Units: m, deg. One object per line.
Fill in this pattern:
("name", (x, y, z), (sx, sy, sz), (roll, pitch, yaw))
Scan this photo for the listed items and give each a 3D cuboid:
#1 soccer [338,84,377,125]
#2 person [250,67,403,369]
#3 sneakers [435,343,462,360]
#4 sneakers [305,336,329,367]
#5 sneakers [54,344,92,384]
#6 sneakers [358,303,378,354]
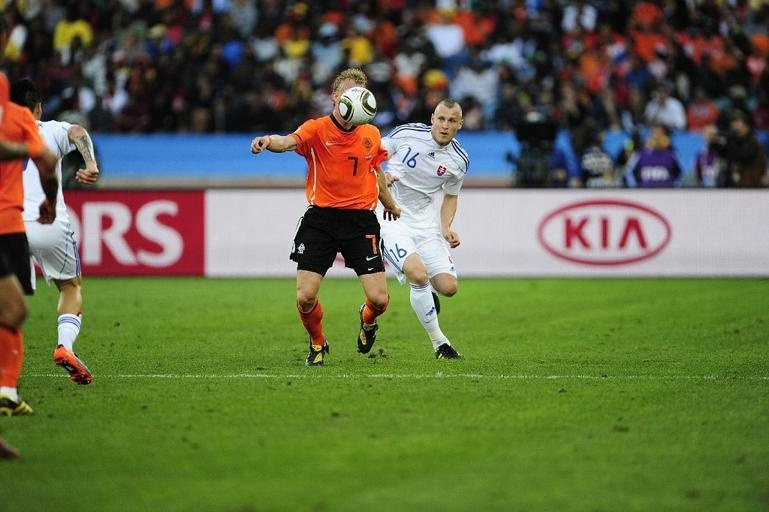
("soccer", (-0.269, -1.461, 9.951), (0.360, 0.373, 0.231), (-1, 13, -3))
("person", (-0.454, -0.371, 10.230), (1.107, 2.940, 0.737), (-1, 13, -1))
("sneakers", (0.680, 0.987, 10.576), (0.315, 0.142, 0.117), (1, 0, 4))
("sneakers", (-0.708, 0.972, 10.422), (0.124, 0.352, 0.160), (-2, -30, 35))
("sneakers", (-2.979, 1.038, 9.748), (0.125, 0.363, 0.169), (-23, 30, 25))
("sneakers", (-0.201, 0.760, 10.656), (0.183, 0.555, 0.256), (0, 15, -20))
